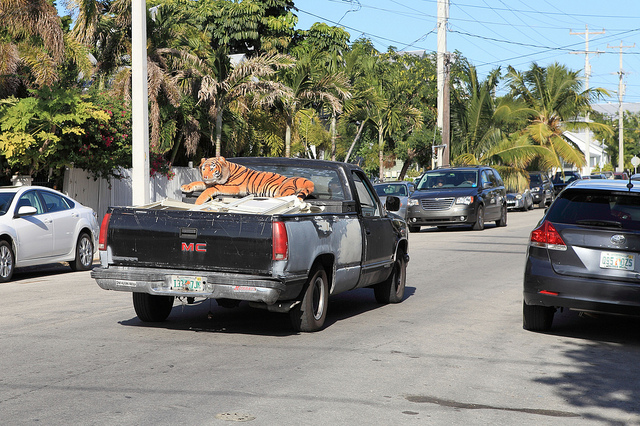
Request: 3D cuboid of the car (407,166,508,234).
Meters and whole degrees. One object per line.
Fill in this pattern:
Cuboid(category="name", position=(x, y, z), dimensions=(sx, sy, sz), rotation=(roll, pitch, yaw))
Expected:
Cuboid(category="car", position=(5.934, -0.706, 25.372), dimensions=(4.368, 2.569, 2.352), rotation=(-3, 6, -42))

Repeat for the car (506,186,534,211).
Cuboid(category="car", position=(13.087, -0.868, 39.394), dimensions=(1.695, 1.467, 2.972), rotation=(-2, -3, 23))
